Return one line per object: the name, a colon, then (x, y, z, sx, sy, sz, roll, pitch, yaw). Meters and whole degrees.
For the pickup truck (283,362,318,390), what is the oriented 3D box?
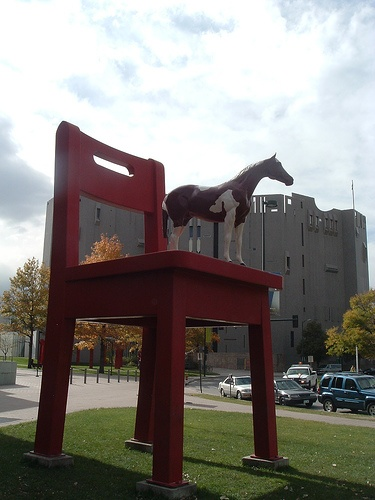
pickup truck: (9.948, 10.745, 32.372, 1.961, 2.090, 3.913, -5, -29, 16)
